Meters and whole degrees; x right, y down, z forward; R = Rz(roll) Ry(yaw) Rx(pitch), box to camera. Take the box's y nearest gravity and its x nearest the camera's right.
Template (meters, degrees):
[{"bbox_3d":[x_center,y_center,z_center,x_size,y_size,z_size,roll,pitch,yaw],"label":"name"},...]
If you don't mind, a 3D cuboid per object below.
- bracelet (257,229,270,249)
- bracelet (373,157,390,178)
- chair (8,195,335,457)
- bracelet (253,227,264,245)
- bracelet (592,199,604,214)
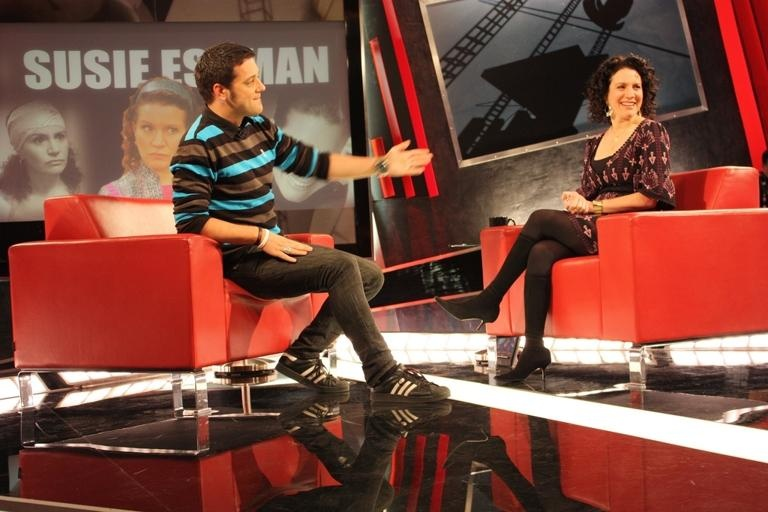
[{"bbox_3d":[-0.524,-0.073,2.769,0.044,0.072,0.076,19,-17,-41],"label":"bracelet"},{"bbox_3d":[-0.009,-0.435,3.076,0.038,0.062,0.084,1,-44,-34],"label":"bracelet"},{"bbox_3d":[-0.931,0.231,3.209,1.173,1.184,1.561,-2,-1,22],"label":"chair"},{"bbox_3d":[-0.540,-0.080,2.763,0.018,0.059,0.060,22,35,-7],"label":"bracelet"},{"bbox_3d":[1.065,-0.254,3.163,0.053,0.061,0.072,0,1,-1],"label":"bracelet"}]
